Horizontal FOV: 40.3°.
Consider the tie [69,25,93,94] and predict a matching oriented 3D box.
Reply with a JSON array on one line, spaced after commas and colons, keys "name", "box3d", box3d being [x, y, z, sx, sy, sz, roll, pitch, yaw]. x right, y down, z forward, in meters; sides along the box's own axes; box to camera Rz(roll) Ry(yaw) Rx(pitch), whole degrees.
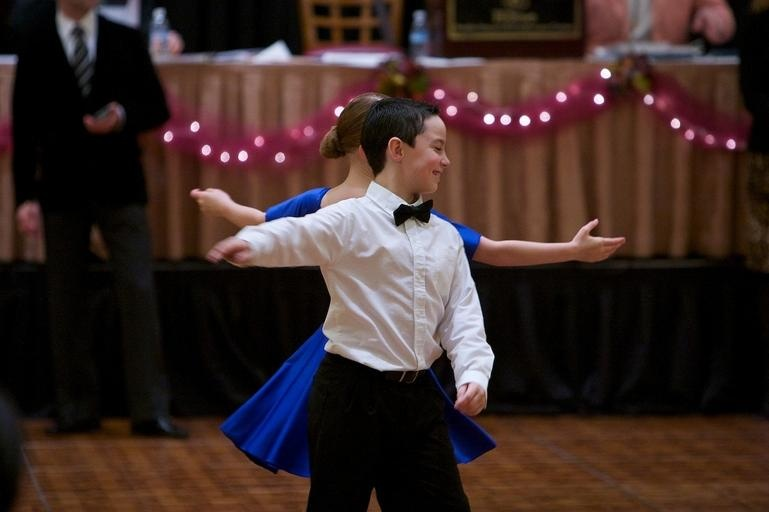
[{"name": "tie", "box3d": [-1.389, -0.891, 4.804, 0.091, 0.320, 0.057, -6, 11, -22]}]

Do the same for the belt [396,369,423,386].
[{"name": "belt", "box3d": [0.076, 0.439, 3.778, 0.060, 0.018, 0.059, 7, -28, -18]}]

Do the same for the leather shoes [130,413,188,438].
[{"name": "leather shoes", "box3d": [-1.095, 0.834, 5.150, 0.308, 0.127, 0.106, 2, -2, -12]}]

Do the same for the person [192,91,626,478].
[{"name": "person", "box3d": [0.010, 0.240, 4.185, 1.707, 1.563, 0.778, 2, 15, -24]}]
